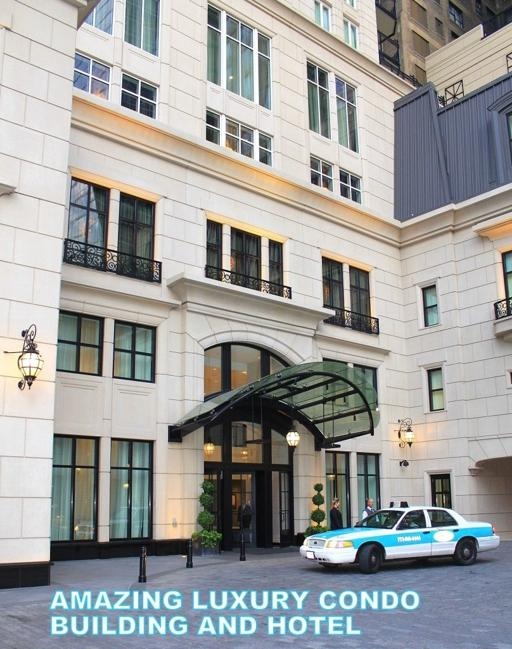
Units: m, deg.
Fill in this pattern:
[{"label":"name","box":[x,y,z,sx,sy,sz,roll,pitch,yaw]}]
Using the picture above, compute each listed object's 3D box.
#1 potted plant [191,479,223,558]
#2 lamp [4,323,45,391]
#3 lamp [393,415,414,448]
[{"label":"potted plant","box":[-1.350,5.647,18.675,0.748,2.051,1.838,-4,-15,13]},{"label":"lamp","box":[-4.516,0.608,12.229,0.573,1.352,0.579,0,-14,-5]},{"label":"lamp","box":[6.208,4.512,26.236,0.602,1.226,0.751,-8,-16,24]}]
